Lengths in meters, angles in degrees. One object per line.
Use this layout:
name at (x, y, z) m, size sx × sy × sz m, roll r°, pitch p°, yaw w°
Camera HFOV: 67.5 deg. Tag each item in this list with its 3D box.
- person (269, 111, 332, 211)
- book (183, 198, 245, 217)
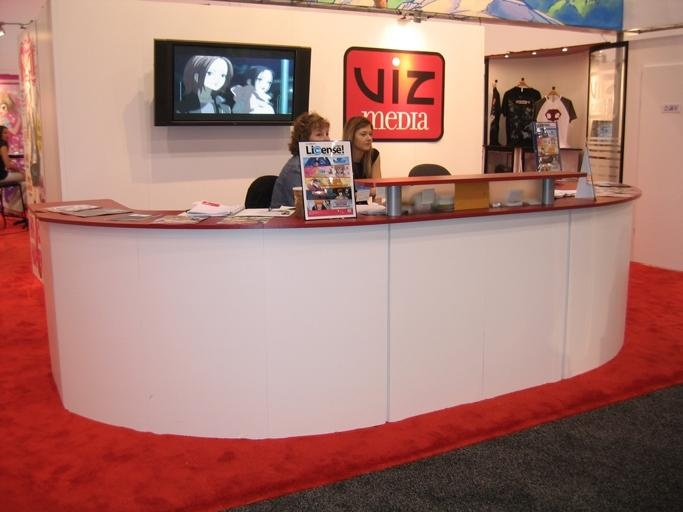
person at (-0.321, -0.731, 3.817) m, size 0.460 × 0.672 × 1.228 m, roll -2°, pitch 14°, yaw -2°
book at (-0.745, -0.274, 2.960) m, size 0.296 × 0.054 × 0.281 m, roll 2°, pitch 15°, yaw 15°
